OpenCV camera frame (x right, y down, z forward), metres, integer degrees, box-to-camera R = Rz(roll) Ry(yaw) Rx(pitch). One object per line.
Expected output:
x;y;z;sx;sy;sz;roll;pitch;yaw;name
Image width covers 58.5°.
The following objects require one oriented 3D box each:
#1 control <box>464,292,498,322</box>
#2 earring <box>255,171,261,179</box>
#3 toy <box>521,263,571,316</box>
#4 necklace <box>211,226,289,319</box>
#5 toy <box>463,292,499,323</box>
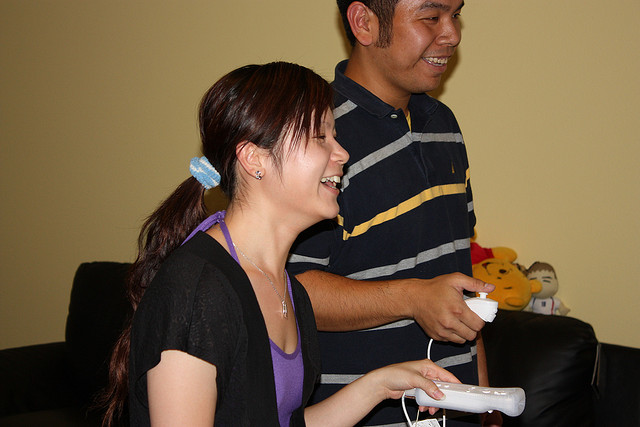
0.574;0.330;2.035;0.112;0.090;0.077;8;3;18;control
-0.196;-0.126;1.819;0.017;0.031;0.012;1;-4;-4;earring
1.115;0.424;2.859;0.225;0.374;0.137;0;0;35;toy
-0.196;0.195;1.902;0.413;0.149;0.057;51;-16;-21;necklace
0.564;0.332;2.034;0.135;0.125;0.098;-9;-15;42;toy
